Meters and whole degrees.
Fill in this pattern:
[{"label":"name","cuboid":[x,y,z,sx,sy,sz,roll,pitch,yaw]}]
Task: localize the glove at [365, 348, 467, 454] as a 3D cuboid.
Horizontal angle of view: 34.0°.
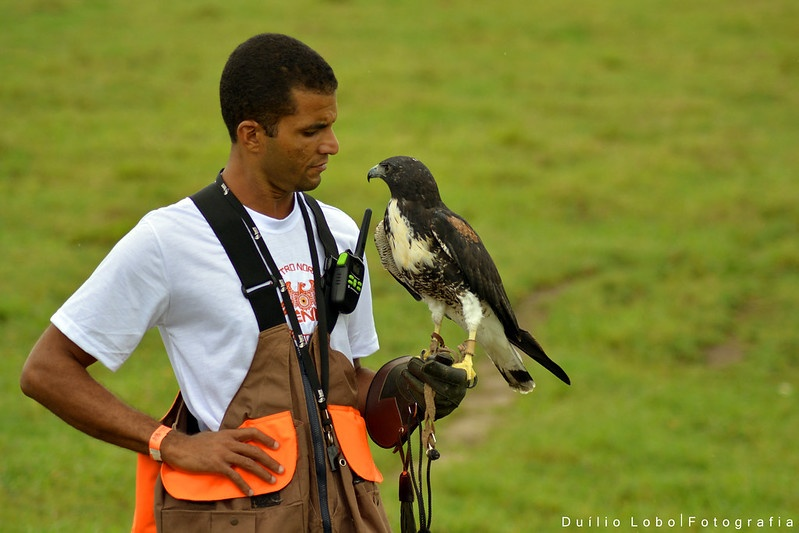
[{"label":"glove","cuboid":[0.074,1.151,11.797,0.935,0.501,0.719,-42,23,-5]}]
